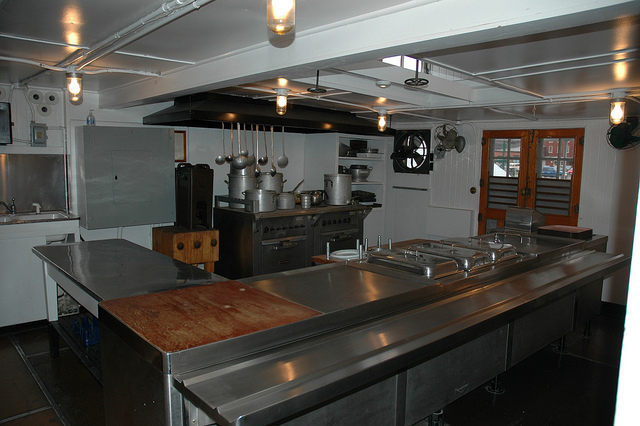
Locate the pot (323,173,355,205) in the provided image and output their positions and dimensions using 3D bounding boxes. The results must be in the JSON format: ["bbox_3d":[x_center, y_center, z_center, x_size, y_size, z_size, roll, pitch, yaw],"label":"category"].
[{"bbox_3d":[0.291,-0.349,6.386,0.504,0.437,0.413,-2,5,37],"label":"pot"}]

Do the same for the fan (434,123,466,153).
[{"bbox_3d":[2.134,-1.270,7.256,0.569,0.460,0.321,8,16,27],"label":"fan"}]

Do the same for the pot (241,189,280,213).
[{"bbox_3d":[-0.744,-0.192,5.611,0.421,0.187,0.318,-5,8,-44],"label":"pot"}]

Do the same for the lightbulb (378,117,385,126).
[{"bbox_3d":[0.745,-1.119,5.302,0.070,0.097,0.052,2,15,3],"label":"lightbulb"}]

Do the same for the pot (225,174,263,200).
[{"bbox_3d":[-1.002,-0.315,5.767,0.535,0.309,0.324,-1,2,-39],"label":"pot"}]

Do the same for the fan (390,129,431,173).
[{"bbox_3d":[1.641,-1.132,7.885,0.807,0.792,0.137,14,20,42],"label":"fan"}]

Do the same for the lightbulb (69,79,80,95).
[{"bbox_3d":[-2.077,-1.082,3.713,0.084,0.121,0.057,6,16,20],"label":"lightbulb"}]

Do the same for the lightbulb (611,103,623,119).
[{"bbox_3d":[2.875,-0.997,4.235,0.075,0.150,0.080,-11,19,-38],"label":"lightbulb"}]

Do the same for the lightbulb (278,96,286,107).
[{"bbox_3d":[-0.362,-1.070,4.164,0.083,0.080,0.076,0,-5,-2],"label":"lightbulb"}]

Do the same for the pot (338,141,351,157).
[{"bbox_3d":[0.396,-1.043,7.083,0.237,0.103,0.219,1,-2,0],"label":"pot"}]

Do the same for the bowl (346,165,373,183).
[{"bbox_3d":[0.673,-0.641,7.276,0.258,0.172,0.401,-1,0,42],"label":"bowl"}]

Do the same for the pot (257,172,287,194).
[{"bbox_3d":[-0.640,-0.417,5.927,0.345,0.217,0.249,2,4,10],"label":"pot"}]
